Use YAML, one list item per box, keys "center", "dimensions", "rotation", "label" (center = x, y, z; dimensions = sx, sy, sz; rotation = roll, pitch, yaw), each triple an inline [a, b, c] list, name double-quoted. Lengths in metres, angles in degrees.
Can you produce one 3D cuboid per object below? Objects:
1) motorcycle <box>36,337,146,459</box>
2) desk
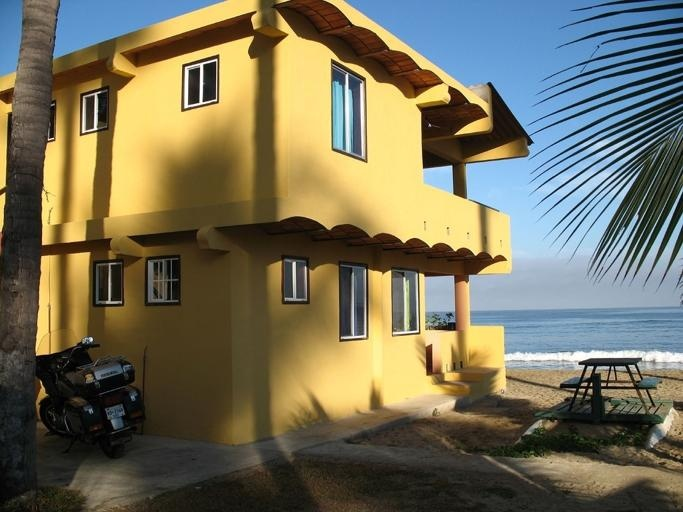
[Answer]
- center: [-3.865, 2.094, 8.672]
  dimensions: [1.598, 1.702, 0.849]
  rotation: [-5, -8, 36]
  label: "motorcycle"
- center: [5.283, 2.543, 11.339]
  dimensions: [1.951, 0.769, 1.312]
  rotation: [-5, -6, 24]
  label: "desk"
